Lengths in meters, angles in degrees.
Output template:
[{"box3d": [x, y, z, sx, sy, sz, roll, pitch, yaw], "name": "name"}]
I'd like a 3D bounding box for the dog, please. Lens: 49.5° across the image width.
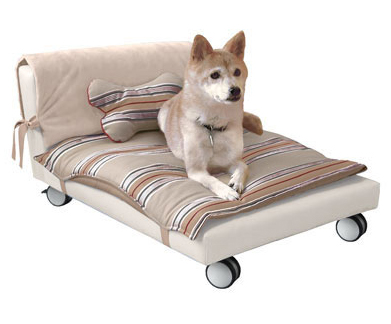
[{"box3d": [0.338, -0.498, 3.725, 0.795, 1.277, 0.944, -13, -58, -21], "name": "dog"}]
